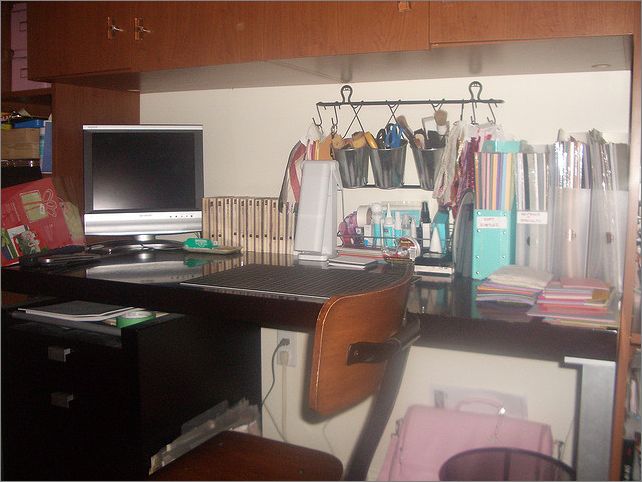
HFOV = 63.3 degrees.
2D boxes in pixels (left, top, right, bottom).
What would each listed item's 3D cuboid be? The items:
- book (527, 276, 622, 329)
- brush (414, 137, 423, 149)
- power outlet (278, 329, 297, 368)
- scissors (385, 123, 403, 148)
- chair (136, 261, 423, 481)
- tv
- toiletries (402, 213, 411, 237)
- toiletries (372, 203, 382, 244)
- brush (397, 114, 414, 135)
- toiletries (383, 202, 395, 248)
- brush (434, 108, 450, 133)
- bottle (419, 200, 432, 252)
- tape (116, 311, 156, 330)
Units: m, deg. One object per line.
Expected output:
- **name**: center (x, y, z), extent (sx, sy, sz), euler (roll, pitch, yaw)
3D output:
- **book**: center (0.697, 0.159, 1.422), extent (0.212, 0.077, 0.324), euler (4, 10, 30)
- **brush**: center (0.359, -0.362, 1.948), extent (0.021, 0.044, 0.010), euler (-8, -16, 11)
- **power outlet**: center (-0.129, 0.456, 2.267), extent (0.100, 0.021, 0.187), euler (1, 35, -15)
- **scissors**: center (0.279, -0.402, 1.999), extent (0.083, 0.119, 0.017), euler (5, 7, 38)
- **chair**: center (-0.067, 0.389, 1.515), extent (0.724, 0.661, 0.516), euler (4, 9, 31)
- **tv**: center (-0.771, -0.246, 2.230), extent (0.491, 0.518, 0.182), euler (0, -1, -3)
- **toiletries**: center (0.323, -0.065, 1.988), extent (0.036, 0.075, 0.104), euler (0, 8, 8)
- **toiletries**: center (0.211, -0.061, 1.979), extent (0.041, 0.160, 0.063), euler (0, 7, 5)
- **brush**: center (0.318, -0.445, 1.996), extent (0.037, 0.115, 0.025), euler (-36, -46, 22)
- **toiletries**: center (0.257, -0.051, 1.984), extent (0.044, 0.150, 0.043), euler (-3, -1, -43)
- **brush**: center (0.449, -0.442, 1.936), extent (0.051, 0.090, 0.036), euler (-7, 22, 8)
- **bottle**: center (0.394, -0.056, 1.952), extent (0.048, 0.176, 0.043), euler (2, 2, 20)
- **tape**: center (-0.611, 0.248, 1.685), extent (0.065, 0.024, 0.071), euler (-11, 17, -44)
